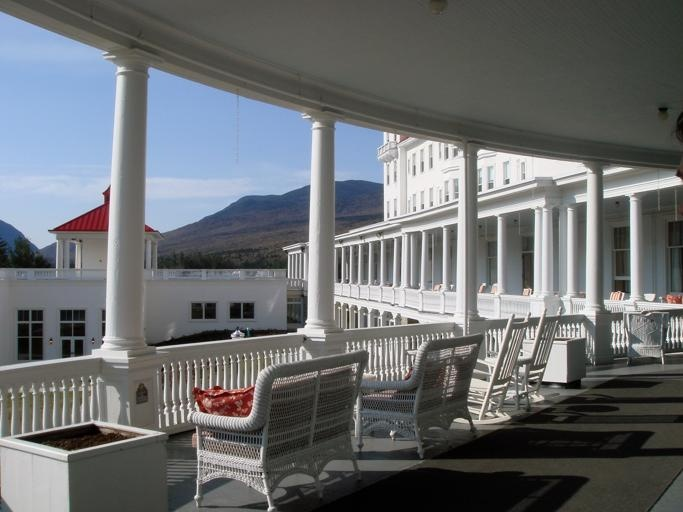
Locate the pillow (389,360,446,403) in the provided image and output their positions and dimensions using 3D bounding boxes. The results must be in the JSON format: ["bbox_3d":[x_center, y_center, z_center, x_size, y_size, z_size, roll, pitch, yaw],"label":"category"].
[{"bbox_3d":[0.980,1.515,8.000,0.682,0.451,0.277,2,-3,-24],"label":"pillow"}]

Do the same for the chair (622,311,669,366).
[{"bbox_3d":[6.754,1.781,14.644,0.976,1.128,0.708,1,-3,7],"label":"chair"}]

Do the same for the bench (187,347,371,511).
[{"bbox_3d":[-0.585,1.771,6.848,1.758,1.527,0.772,3,-3,-33],"label":"bench"}]

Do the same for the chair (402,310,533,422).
[{"bbox_3d":[2.317,1.606,9.926,0.808,1.417,1.075,13,-2,18],"label":"chair"}]

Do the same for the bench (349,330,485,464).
[{"bbox_3d":[1.050,1.743,8.529,1.041,1.229,1.714,-4,-5,34],"label":"bench"}]
